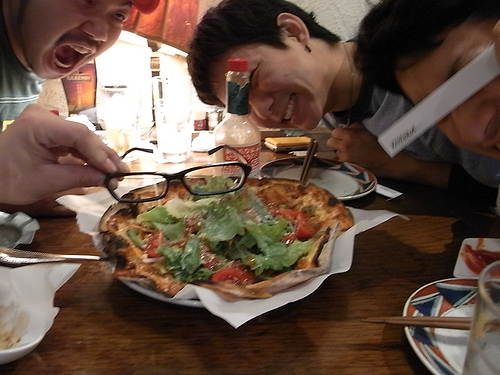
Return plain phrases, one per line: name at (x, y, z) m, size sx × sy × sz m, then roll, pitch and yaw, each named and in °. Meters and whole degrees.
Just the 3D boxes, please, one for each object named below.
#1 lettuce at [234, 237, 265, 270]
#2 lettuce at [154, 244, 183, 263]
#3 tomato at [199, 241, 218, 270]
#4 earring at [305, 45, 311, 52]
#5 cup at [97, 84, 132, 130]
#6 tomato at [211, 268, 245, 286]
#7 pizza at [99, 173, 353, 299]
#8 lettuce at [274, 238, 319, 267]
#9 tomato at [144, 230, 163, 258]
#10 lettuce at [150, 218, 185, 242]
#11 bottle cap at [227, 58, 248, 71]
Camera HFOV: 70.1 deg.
lettuce at (-0.003, 0.164, 0.853) m, size 0.060 × 0.015 × 0.054 m, roll 13°, pitch 22°, yaw -39°
lettuce at (-0.186, 0.152, 0.833) m, size 0.052 × 0.011 × 0.041 m, roll 6°, pitch 23°, yaw 4°
tomato at (-0.109, 0.164, 0.852) m, size 0.046 × 0.017 × 0.060 m, roll -9°, pitch 65°, yaw -37°
earring at (0.262, -0.618, 1.579) m, size 0.015 × 0.023 × 0.025 m, roll -31°, pitch 54°, yaw -34°
cup at (-0.721, -0.435, 1.913) m, size 0.227 × 0.177 × 0.331 m, roll -3°, pitch 33°, yaw -21°
tomato at (-0.052, 0.200, 0.807) m, size 0.052 × 0.014 × 0.040 m, roll 3°, pitch 35°, yaw 2°
pizza at (-0.038, 0.068, 0.880) m, size 0.430 × 0.070 × 0.415 m, roll -14°, pitch 28°, yaw -35°
lettuce at (0.120, 0.154, 0.875) m, size 0.050 × 0.020 × 0.138 m, roll 32°, pitch 44°, yaw 30°
tomato at (-0.235, 0.141, 0.876) m, size 0.015 × 0.039 × 0.057 m, roll 50°, pitch 39°, yaw -23°
lettuce at (-0.216, 0.114, 0.934) m, size 0.079 × 0.018 × 0.067 m, roll 9°, pitch 34°, yaw 25°
bottle cap at (-0.027, -0.405, 1.163) m, size 0.066 × 0.028 × 0.053 m, roll -1°, pitch 22°, yaw -4°
